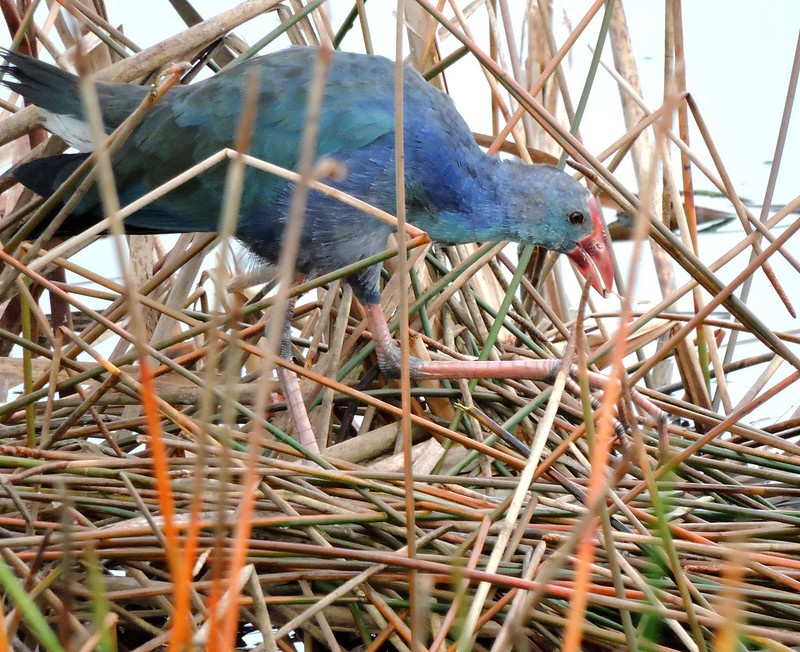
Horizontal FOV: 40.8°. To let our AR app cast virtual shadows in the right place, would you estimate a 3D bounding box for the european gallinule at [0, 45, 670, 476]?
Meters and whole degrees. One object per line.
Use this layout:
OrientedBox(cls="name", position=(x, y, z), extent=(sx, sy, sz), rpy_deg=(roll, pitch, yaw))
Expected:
OrientedBox(cls="european gallinule", position=(-0.190, -0.176, 2.015), extent=(1.283, 0.798, 0.404), rpy_deg=(15, -27, -3))
